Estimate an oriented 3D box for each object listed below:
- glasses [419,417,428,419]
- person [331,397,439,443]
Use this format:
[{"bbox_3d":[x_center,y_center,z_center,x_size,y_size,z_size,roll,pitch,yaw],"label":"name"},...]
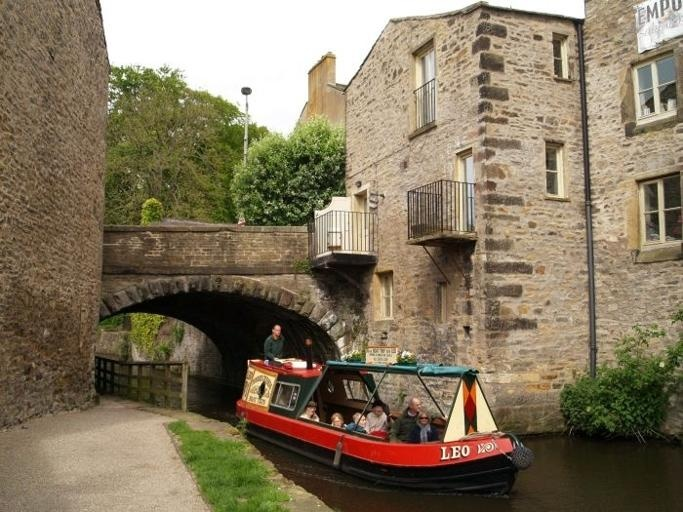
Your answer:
[{"bbox_3d":[1.525,2.998,12.205,0.157,0.074,0.065,4,-7,-9],"label":"glasses"},{"bbox_3d":[1.018,3.221,12.811,0.918,0.511,1.339,6,-9,-27],"label":"person"}]
